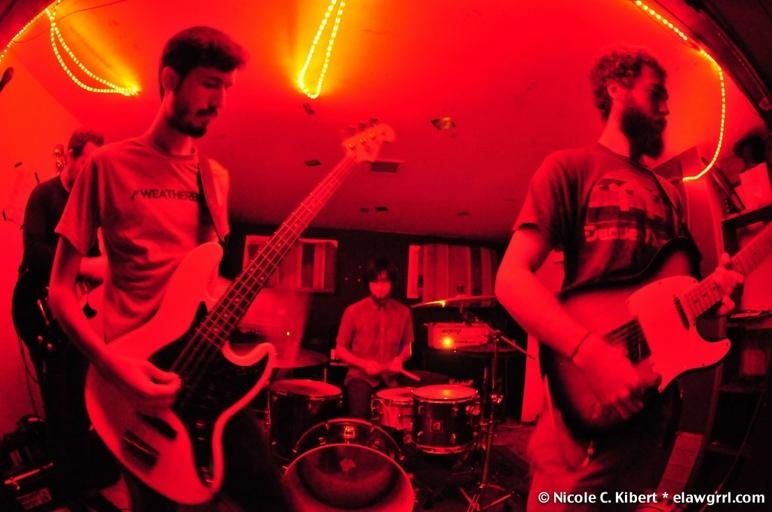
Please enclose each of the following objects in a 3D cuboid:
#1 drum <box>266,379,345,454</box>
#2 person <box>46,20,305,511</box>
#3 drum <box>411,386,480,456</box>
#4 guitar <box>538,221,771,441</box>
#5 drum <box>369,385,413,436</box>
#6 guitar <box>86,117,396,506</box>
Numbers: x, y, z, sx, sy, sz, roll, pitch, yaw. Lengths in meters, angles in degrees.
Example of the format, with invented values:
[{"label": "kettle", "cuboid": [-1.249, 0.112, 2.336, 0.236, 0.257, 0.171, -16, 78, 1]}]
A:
[{"label": "drum", "cuboid": [-0.367, 0.690, 2.753, 0.322, 0.326, 0.322, 8, -2, 0]}, {"label": "person", "cuboid": [-1.066, -0.051, 2.946, 0.968, 2.260, 0.275, 8, -12, -8]}, {"label": "drum", "cuboid": [0.246, 0.699, 2.704, 0.306, 0.233, 0.303, 2, -5, 0]}, {"label": "guitar", "cuboid": [1.141, 0.294, 2.694, 1.216, 0.484, 0.133, -32, -5, 0]}, {"label": "drum", "cuboid": [0.034, 0.662, 2.651, 0.208, 0.105, 0.162, 6, -6, -30]}, {"label": "guitar", "cuboid": [-0.658, 0.310, 2.627, 0.704, 1.833, 0.258, 38, -1, -9]}]
